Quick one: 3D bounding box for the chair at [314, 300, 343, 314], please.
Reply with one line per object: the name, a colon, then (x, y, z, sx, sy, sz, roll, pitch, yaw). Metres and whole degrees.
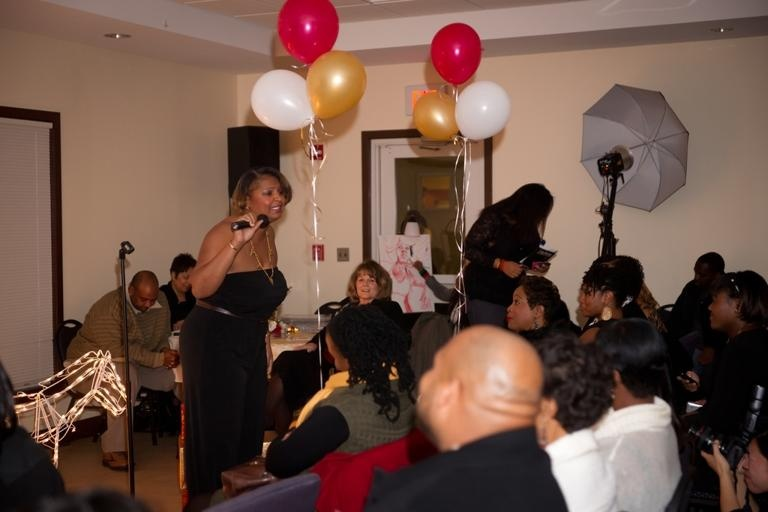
chair: (-0.547, 0.532, 5.757, 0.162, 0.116, 0.232, -2, -7, -28)

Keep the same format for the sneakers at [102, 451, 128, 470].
sneakers: (-2.189, 1.669, 4.661, 0.245, 0.179, 0.109, -2, -4, 25)

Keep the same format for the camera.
camera: (1.787, 0.882, 2.942, 0.359, 0.385, 0.229, 26, 37, 15)

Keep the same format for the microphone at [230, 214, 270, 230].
microphone: (-0.773, -0.196, 3.279, 0.070, 0.078, 0.246, 0, 6, 25)

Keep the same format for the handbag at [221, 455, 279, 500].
handbag: (-0.629, 1.052, 2.719, 0.263, 0.096, 0.181, -11, 11, -30)

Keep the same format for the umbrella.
umbrella: (2.378, -1.050, 5.422, 0.933, 1.172, 0.414, 5, 5, 28)

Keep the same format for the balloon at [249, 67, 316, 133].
balloon: (-0.694, -1.110, 4.149, 0.443, 0.344, 0.347, 32, 60, 18)

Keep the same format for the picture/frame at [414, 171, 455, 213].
picture/frame: (0.566, -0.690, 6.126, 0.401, 0.450, 0.042, 0, -5, 15)

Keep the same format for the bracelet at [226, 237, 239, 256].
bracelet: (-0.865, -0.054, 3.266, 0.063, 0.079, 0.041, 2, 4, -16)

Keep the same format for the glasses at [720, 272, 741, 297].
glasses: (2.106, 0.163, 3.451, 0.096, 0.048, 0.139, -9, 45, 8)
